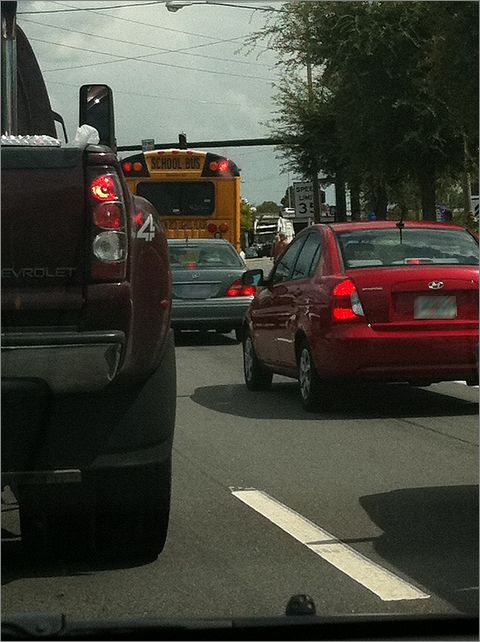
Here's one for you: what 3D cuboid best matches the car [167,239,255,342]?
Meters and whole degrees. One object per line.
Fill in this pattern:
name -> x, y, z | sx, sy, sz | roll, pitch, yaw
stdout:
car -> -0.618, -0.626, 13.155 | 2.365, 1.914, 4.723 | -1, 4, -3
